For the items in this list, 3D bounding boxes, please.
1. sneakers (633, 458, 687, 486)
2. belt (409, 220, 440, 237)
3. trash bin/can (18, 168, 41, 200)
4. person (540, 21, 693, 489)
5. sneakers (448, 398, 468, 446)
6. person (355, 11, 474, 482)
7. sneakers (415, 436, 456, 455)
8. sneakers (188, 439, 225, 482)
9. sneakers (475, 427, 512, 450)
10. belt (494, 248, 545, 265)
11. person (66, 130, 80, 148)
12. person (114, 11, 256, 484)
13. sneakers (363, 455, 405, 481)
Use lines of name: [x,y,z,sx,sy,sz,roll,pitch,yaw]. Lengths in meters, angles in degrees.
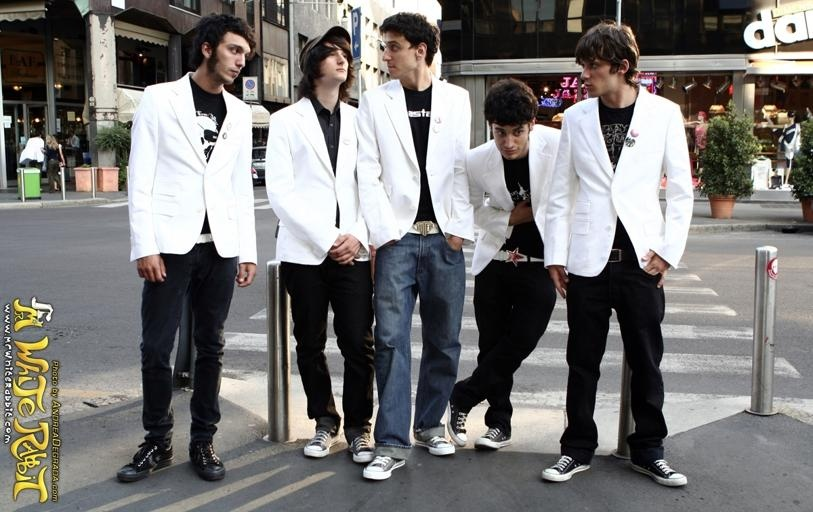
sneakers: [1.856,1.578,5.157,0.147,0.144,0.389,-14,12,-38]
belt: [0.147,-0.217,5.375,0.219,0.101,0.060,2,11,3]
trash bin/can: [-11.743,-2.270,21.755,0.506,0.978,1.376,-3,12,-20]
person: [1.543,-0.017,5.122,1.025,3.253,0.673,3,11,10]
sneakers: [0.437,1.360,5.705,0.116,0.157,0.382,11,36,-33]
person: [0.081,-0.128,5.317,0.903,3.400,0.932,0,11,-5]
sneakers: [0.234,1.502,5.522,0.122,0.127,0.322,-2,-1,-40]
sneakers: [-1.462,1.512,5.138,0.149,0.185,0.396,-6,5,-27]
sneakers: [0.712,1.482,5.622,0.121,0.133,0.332,-8,-11,43]
belt: [0.920,0.004,5.639,0.313,0.132,0.134,6,-32,10]
person: [-13.975,-4.927,29.328,0.457,0.706,0.989,-4,12,-26]
person: [-1.568,-0.097,5.153,0.916,3.339,0.689,-1,11,-13]
sneakers: [-0.162,1.579,5.184,0.122,0.128,0.333,2,-5,33]
